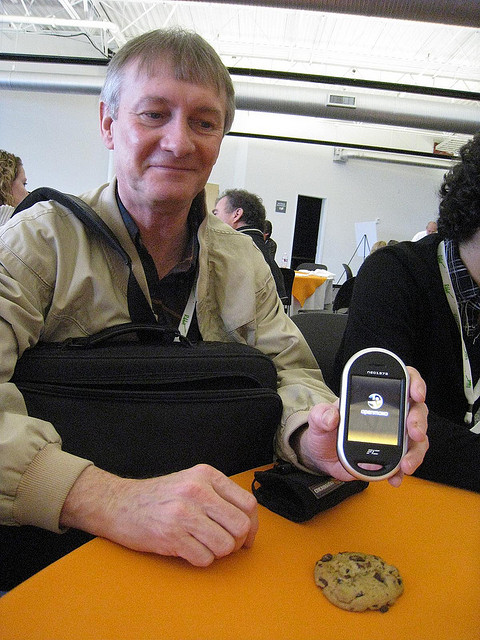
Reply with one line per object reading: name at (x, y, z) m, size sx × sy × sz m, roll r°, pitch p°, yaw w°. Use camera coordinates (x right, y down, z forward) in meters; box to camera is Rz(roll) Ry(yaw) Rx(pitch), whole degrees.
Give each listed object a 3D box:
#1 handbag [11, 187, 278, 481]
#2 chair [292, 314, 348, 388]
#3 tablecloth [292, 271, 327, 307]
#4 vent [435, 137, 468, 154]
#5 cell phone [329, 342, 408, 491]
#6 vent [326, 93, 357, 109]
handbag at (-0.141, -0.011, 0.866) m, size 0.489 × 0.520 × 0.300 m, roll 3°, pitch 17°, yaw -14°
chair at (0.256, 0.087, 1.537) m, size 0.181 × 0.236 × 0.192 m, roll 0°, pitch -7°, yaw -2°
tablecloth at (0.801, -0.382, 5.616) m, size 0.381 × 0.151 × 0.363 m, roll -8°, pitch 23°, yaw -32°
vent at (4.240, -3.588, 9.856) m, size 0.409 × 0.198 × 1.089 m, roll 8°, pitch 11°, yaw 9°
cell phone at (0.156, 0.122, 0.617) m, size 0.084 × 0.172 × 0.024 m, roll 13°, pitch -19°, yaw -10°
vent at (1.300, -2.798, 6.234) m, size 0.385 × 0.164 × 0.067 m, roll 7°, pitch 11°, yaw 7°
